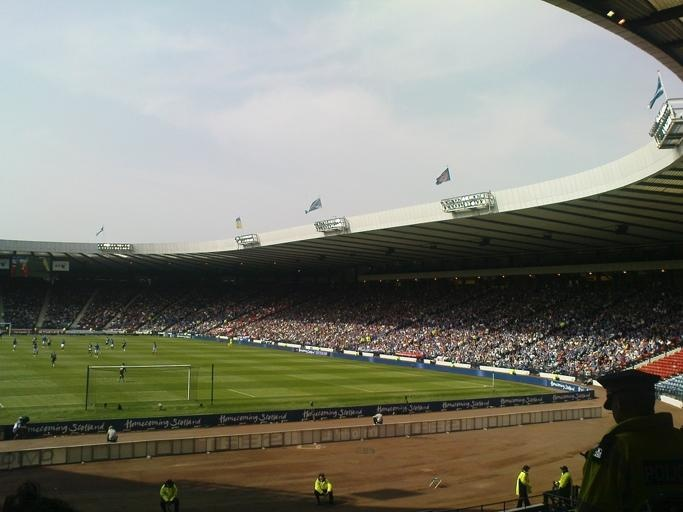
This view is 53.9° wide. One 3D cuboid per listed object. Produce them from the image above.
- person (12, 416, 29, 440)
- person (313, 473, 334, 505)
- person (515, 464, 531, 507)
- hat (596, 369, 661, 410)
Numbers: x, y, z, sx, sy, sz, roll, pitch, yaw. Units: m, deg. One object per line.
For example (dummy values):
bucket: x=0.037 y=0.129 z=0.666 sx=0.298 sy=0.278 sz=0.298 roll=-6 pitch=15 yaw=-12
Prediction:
person: x=-15.040 y=8.045 z=31.505 sx=0.763 sy=0.936 sz=0.366 roll=7 pitch=-15 yaw=-38
person: x=-0.676 y=8.928 z=26.108 sx=0.699 sy=1.128 sz=1.649 roll=-2 pitch=-11 yaw=-1
person: x=6.673 y=8.483 z=24.742 sx=0.503 sy=1.433 sz=2.205 roll=-5 pitch=-11 yaw=13
hat: x=5.650 y=2.645 z=13.400 sx=1.102 sy=0.558 sz=0.990 roll=-1 pitch=-5 yaw=-3
